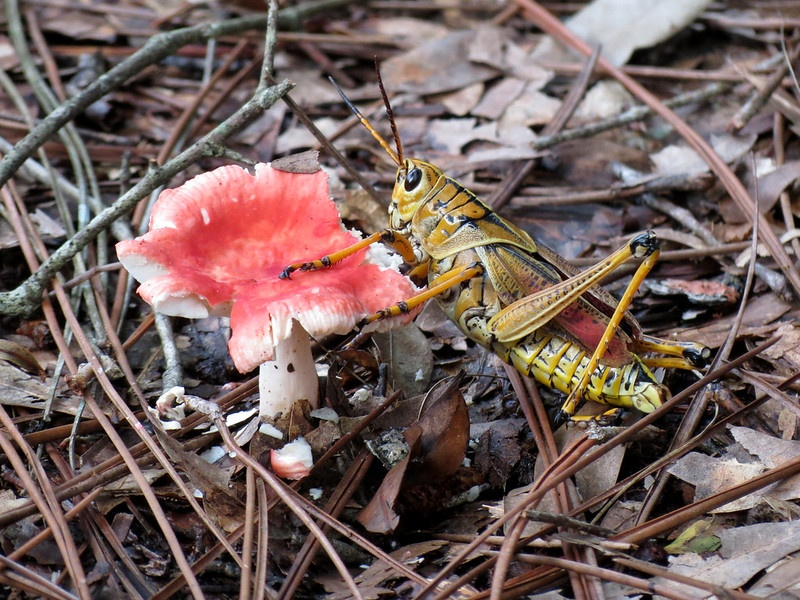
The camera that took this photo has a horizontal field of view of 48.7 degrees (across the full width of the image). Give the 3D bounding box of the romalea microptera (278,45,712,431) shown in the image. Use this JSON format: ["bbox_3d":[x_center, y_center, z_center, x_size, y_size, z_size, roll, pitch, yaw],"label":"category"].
[{"bbox_3d":[0.305,-0.025,4.340,1.280,2.149,1.717,-6,89,31],"label":"romalea microptera"}]

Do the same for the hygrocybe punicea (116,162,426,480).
[{"bbox_3d":[-0.582,0.039,3.921,1.310,1.073,1.227,-4,48,-33],"label":"hygrocybe punicea"}]
